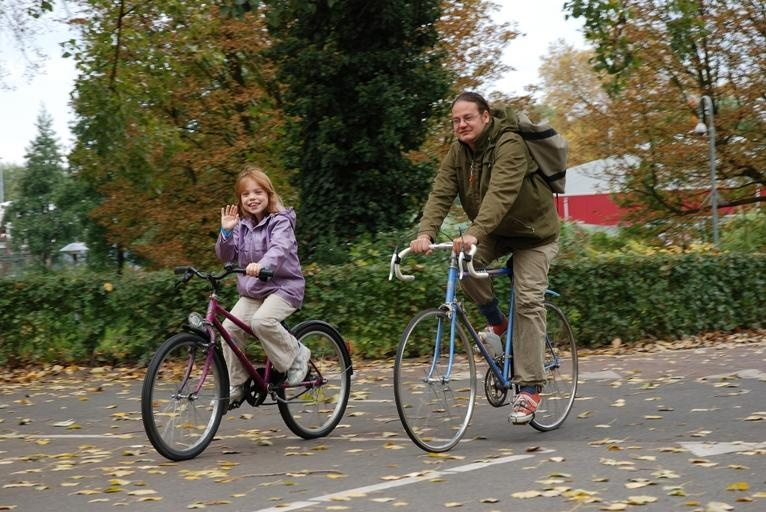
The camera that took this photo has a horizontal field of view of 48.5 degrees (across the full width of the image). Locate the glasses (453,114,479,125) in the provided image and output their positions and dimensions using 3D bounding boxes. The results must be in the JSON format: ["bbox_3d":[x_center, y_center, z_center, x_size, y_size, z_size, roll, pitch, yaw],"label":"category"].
[{"bbox_3d":[0.837,-1.388,8.596,0.148,0.031,0.141,-6,-3,26],"label":"glasses"}]
